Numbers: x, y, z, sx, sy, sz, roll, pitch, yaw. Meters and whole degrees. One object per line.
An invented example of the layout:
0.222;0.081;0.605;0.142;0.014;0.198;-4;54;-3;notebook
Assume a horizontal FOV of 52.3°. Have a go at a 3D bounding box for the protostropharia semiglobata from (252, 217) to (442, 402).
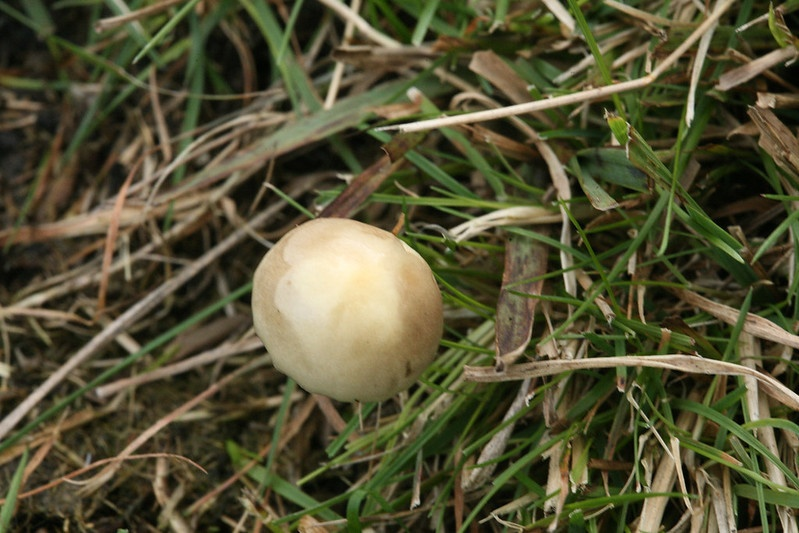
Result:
-0.087;0.066;1.308;0.313;0.107;0.274;34;74;12;protostropharia semiglobata
